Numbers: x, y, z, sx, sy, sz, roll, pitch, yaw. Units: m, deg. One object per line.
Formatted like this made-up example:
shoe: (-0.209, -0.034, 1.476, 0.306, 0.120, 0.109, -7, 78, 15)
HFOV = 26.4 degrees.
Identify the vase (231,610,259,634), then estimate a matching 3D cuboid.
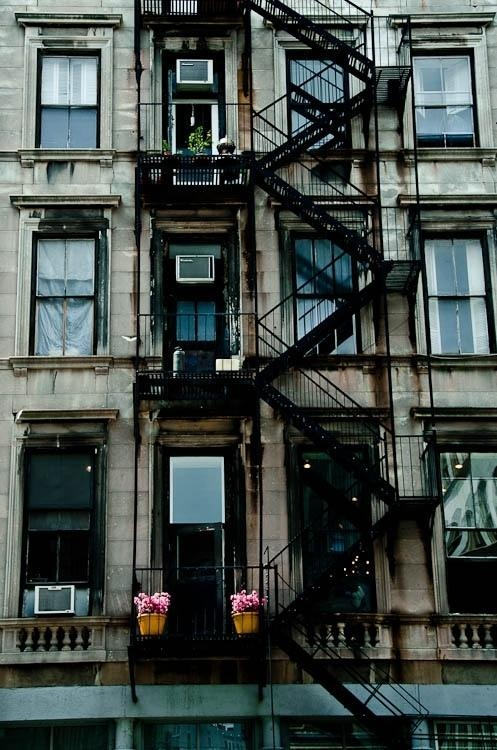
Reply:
vase: (-0.045, 3.434, 14.767, 0.265, 0.259, 0.311, -4, -26, 8)

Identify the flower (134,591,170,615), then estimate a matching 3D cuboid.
flower: (-1.403, 3.187, 14.961, 0.615, 0.375, 0.366, -16, -23, 33)

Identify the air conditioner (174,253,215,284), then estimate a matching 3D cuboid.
air conditioner: (-0.886, -1.761, 17.766, 0.669, 0.477, 0.231, 2, -17, -12)

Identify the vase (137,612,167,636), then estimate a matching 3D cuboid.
vase: (-1.371, 3.472, 14.809, 0.396, 0.351, 0.393, -1, -19, -4)

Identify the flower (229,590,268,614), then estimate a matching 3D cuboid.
flower: (-0.019, 3.158, 14.980, 0.464, 0.392, 0.534, -3, -19, 2)
